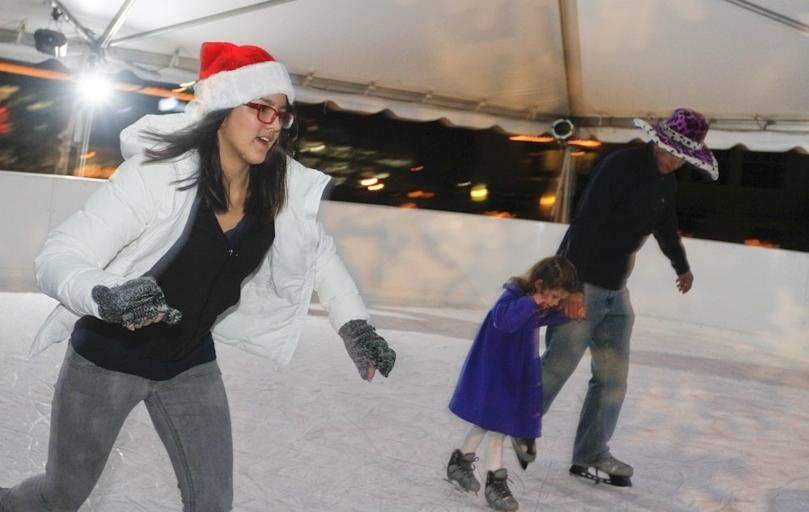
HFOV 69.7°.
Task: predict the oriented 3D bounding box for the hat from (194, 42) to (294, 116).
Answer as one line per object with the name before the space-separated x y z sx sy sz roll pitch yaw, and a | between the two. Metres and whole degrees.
hat | -0.665 -0.725 2.353 0.419 0.276 0.391 -2 14 -2

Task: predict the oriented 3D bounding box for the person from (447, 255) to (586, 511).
person | 0.538 0.621 3.056 0.458 1.258 0.541 11 14 27
